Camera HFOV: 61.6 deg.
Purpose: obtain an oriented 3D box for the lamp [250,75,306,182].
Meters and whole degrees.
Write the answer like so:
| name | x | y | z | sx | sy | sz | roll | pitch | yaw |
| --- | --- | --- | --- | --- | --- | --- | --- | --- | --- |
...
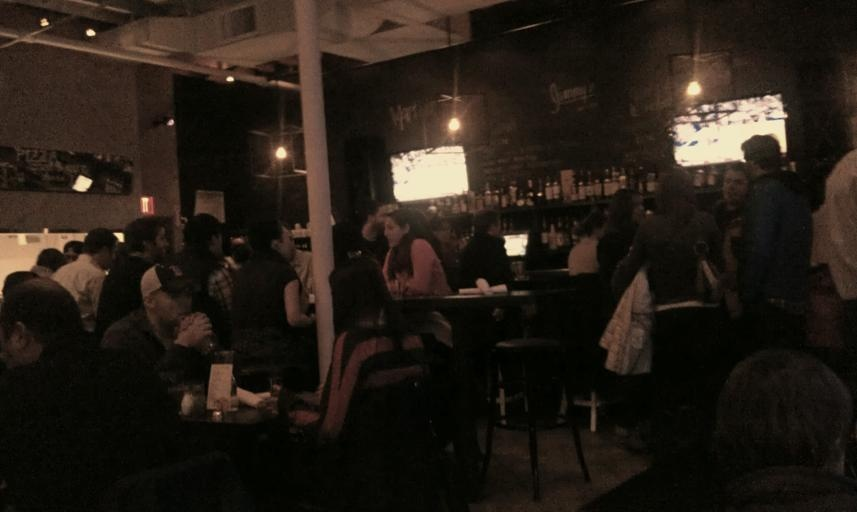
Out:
| name | x | y | z | sx | sy | sz | roll | pitch | yaw |
| --- | --- | --- | --- | --- | --- | --- | --- | --- | --- |
| lamp | -2.375 | -1.983 | 12.191 | 1.309 | 1.637 | 1.257 | 5 | 9 | -12 |

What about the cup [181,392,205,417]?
| name | x | y | z | sx | sy | sz | roll | pitch | yaw |
| --- | --- | --- | --- | --- | --- | --- | --- | --- | --- |
| cup | -1.547 | 0.971 | 4.688 | 0.150 | 0.133 | 0.143 | 0 | 0 | 0 |

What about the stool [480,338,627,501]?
| name | x | y | z | sx | sy | sz | roll | pitch | yaw |
| --- | --- | --- | --- | --- | --- | --- | --- | --- | --- |
| stool | 0.912 | 1.336 | 6.617 | 1.243 | 1.758 | 1.253 | -1 | 1 | 40 |

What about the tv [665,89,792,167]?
| name | x | y | z | sx | sy | sz | roll | pitch | yaw |
| --- | --- | --- | --- | --- | --- | --- | --- | --- | --- |
| tv | 3.263 | -1.446 | 7.878 | 1.317 | 0.744 | 0.092 | -7 | 44 | 4 |

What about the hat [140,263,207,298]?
| name | x | y | z | sx | sy | sz | roll | pitch | yaw |
| --- | --- | --- | --- | --- | --- | --- | --- | --- | --- |
| hat | -1.727 | 0.146 | 4.877 | 0.250 | 0.179 | 0.397 | -10 | 11 | -31 |
